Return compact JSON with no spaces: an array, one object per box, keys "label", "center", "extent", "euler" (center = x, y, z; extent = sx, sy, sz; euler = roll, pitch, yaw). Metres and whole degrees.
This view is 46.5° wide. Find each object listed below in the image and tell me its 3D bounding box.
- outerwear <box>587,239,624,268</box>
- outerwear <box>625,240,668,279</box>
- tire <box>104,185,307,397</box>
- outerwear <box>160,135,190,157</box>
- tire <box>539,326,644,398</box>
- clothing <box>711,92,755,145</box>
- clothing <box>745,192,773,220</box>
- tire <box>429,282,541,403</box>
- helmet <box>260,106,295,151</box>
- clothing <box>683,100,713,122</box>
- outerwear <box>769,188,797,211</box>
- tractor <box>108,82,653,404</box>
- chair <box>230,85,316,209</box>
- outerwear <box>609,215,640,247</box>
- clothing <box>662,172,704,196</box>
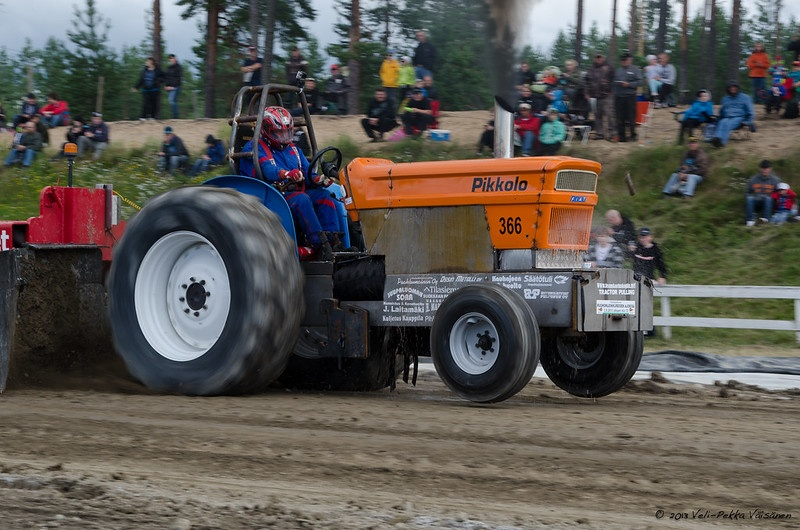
[{"label":"outerwear","center":[2.692,-0.139,12.330],"extent":[0.376,0.290,0.205],"euler":[0,-4,9]},{"label":"outerwear","center":[3.405,-0.063,13.021],"extent":[0.370,0.503,0.528],"euler":[-17,20,-42]},{"label":"tire","center":[-1.721,0.252,8.444],"extent":[1.847,1.824,0.595],"euler":[-4,-9,31]},{"label":"outerwear","center":[-4.893,-2.599,20.354],"extent":[0.484,0.417,0.537],"euler":[-12,19,-39]},{"label":"tire","center":[1.865,0.943,9.149],"extent":[0.775,0.765,0.280],"euler":[2,2,37]},{"label":"clothing","center":[6.698,-2.951,18.951],"extent":[0.819,1.213,0.845],"euler":[2,2,-42]},{"label":"clothing","center":[6.466,-1.034,17.084],"extent":[0.515,0.611,0.436],"euler":[0,-12,13]},{"label":"tire","center":[0.760,0.706,8.465],"extent":[1.046,1.025,0.440],"euler":[-1,-1,37]},{"label":"helmet","center":[-1.206,-1.376,9.128],"extent":[0.339,0.347,0.443],"euler":[-13,33,-37]},{"label":"clothing","center":[6.093,-3.193,19.083],"extent":[0.592,0.437,0.374],"euler":[-4,23,6]},{"label":"outerwear","center":[6.843,-1.164,16.763],"extent":[0.333,0.318,0.198],"euler":[-10,-32,29]},{"label":"tractor","center":[-0.123,-0.272,9.493],"extent":[4.817,3.020,3.461],"euler":[-2,0,27]},{"label":"chair","center":[-1.272,-1.315,9.305],"extent":[0.852,0.928,0.517],"euler":[-9,10,-43]},{"label":"outerwear","center":[3.184,-0.452,13.275],"extent":[0.351,0.453,0.151],"euler":[1,-10,-36]},{"label":"clothing","center":[5.524,-1.574,18.254],"extent":[0.420,0.230,0.657],"euler":[6,29,23]}]
